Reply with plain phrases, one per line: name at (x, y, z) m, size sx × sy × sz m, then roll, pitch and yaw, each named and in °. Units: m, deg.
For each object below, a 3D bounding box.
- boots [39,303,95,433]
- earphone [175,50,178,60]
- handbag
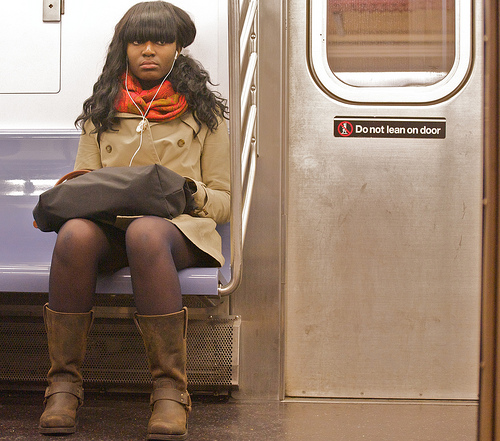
boots at (-0.585, 0.480, 2.352) m, size 0.132 × 0.353 × 0.177 m, roll 1°, pitch 11°, yaw -6°
earphone at (-0.293, -0.661, 2.977) m, size 0.010 × 0.029 × 0.020 m, roll 7°, pitch 0°, yaw 9°
handbag at (-0.446, -0.079, 2.478) m, size 0.396 × 0.168 × 0.251 m, roll -10°, pitch 4°, yaw 3°
